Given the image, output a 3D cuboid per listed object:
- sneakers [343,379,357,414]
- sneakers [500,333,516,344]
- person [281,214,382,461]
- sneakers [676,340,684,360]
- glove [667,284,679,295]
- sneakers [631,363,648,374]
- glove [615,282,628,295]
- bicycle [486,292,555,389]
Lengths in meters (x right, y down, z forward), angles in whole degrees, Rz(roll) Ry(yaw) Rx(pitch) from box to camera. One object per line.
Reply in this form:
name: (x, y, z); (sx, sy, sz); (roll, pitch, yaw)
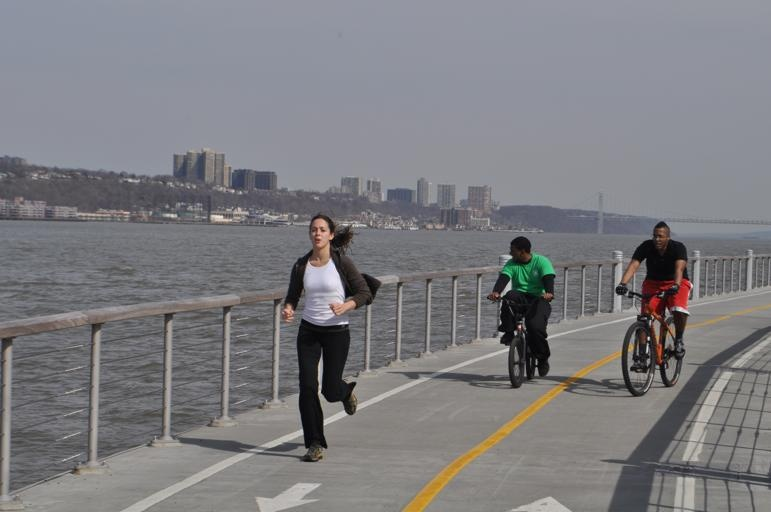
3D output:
sneakers: (-0.486, 1.750, 12.011); (0.175, 0.454, 0.191); (3, 26, 17)
sneakers: (1.807, 1.233, 14.729); (0.200, 0.144, 0.345); (0, 7, 6)
person: (-0.705, 0.948, 11.670); (1.001, 2.901, 0.625); (-2, 8, -11)
sneakers: (4.490, 1.433, 15.010); (0.184, 0.281, 0.207); (1, 2, 4)
glove: (4.235, 0.495, 14.547); (0.216, 0.138, 0.139); (-7, 10, -43)
sneakers: (3.675, 1.638, 14.360); (0.146, 0.092, 0.332); (-5, -10, 21)
glove: (3.408, 0.487, 14.324); (0.165, 0.119, 0.218); (0, 1, 13)
bicycle: (2.025, 1.271, 14.850); (0.411, 1.412, 1.014); (4, 9, 32)
